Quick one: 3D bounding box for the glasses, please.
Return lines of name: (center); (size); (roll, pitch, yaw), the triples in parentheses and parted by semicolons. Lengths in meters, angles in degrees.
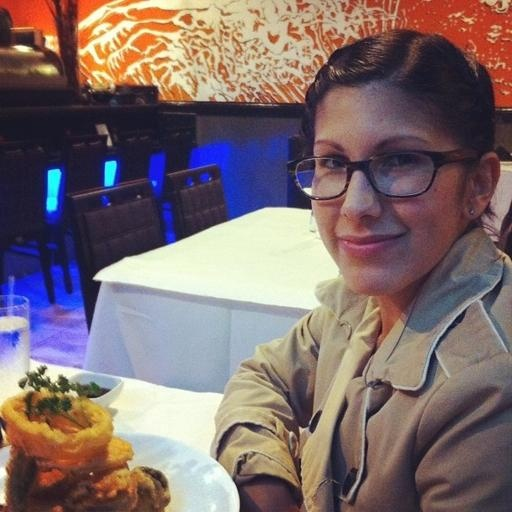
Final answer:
glasses: (0.137, -0.108, 0.686); (0.129, 0.058, 0.284); (-10, 12, -35)
